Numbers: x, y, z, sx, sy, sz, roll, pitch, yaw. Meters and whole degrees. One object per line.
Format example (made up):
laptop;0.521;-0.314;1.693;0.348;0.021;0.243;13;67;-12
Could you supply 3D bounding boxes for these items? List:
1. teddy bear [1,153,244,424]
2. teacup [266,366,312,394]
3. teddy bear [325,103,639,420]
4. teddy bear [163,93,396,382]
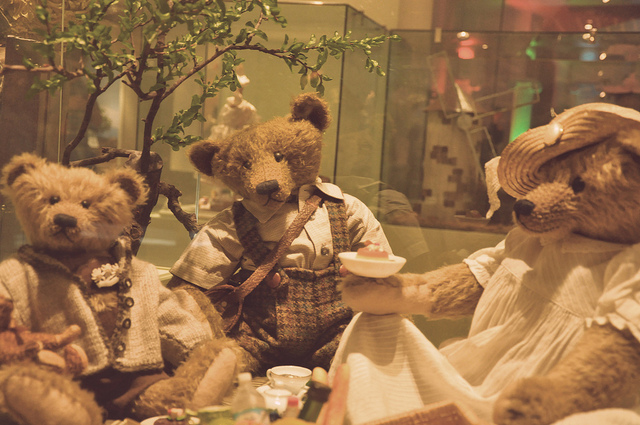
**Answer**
teddy bear;-0.805;0.299;2.400;0.873;1.031;0.436;0;5;-9
teacup;-0.113;0.703;2.637;0.163;0.066;0.161;-1;5;-32
teddy bear;0.679;0.176;2.399;1.032;1.189;0.592;2;5;11
teddy bear;-0.141;0.127;2.840;1.391;1.307;0.800;-4;12;-4
